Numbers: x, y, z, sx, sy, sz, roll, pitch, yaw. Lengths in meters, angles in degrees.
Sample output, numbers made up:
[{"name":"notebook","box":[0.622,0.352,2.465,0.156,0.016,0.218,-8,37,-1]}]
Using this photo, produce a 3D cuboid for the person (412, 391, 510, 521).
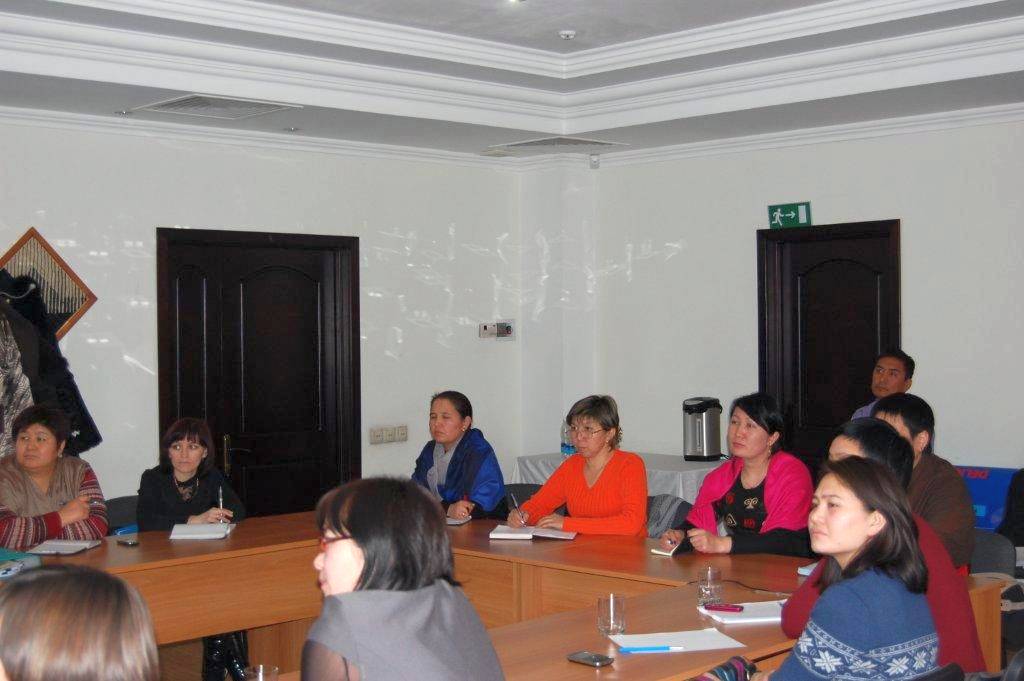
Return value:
[{"name":"person","box":[-0.281,0.799,4.945,0.679,0.788,0.952,4,-7,-35]}]

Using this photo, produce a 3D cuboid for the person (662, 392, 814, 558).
[{"name":"person","box":[1.278,0.658,3.989,0.816,0.869,0.821,5,-5,-31]}]

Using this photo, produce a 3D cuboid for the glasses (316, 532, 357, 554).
[{"name":"glasses","box":[-0.408,0.469,1.741,0.067,0.020,0.065,14,-13,-17]}]

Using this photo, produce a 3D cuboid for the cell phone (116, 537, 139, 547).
[{"name":"cell phone","box":[-2.004,1.043,3.893,0.132,0.054,0.049,-6,-3,26]}]

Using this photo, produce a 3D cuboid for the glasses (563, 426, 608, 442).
[{"name":"glasses","box":[0.435,0.528,4.272,0.204,0.092,0.098,-2,0,21]}]

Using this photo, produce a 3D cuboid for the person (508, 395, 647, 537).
[{"name":"person","box":[0.415,0.770,4.415,0.841,0.896,0.804,-4,-10,27]}]
